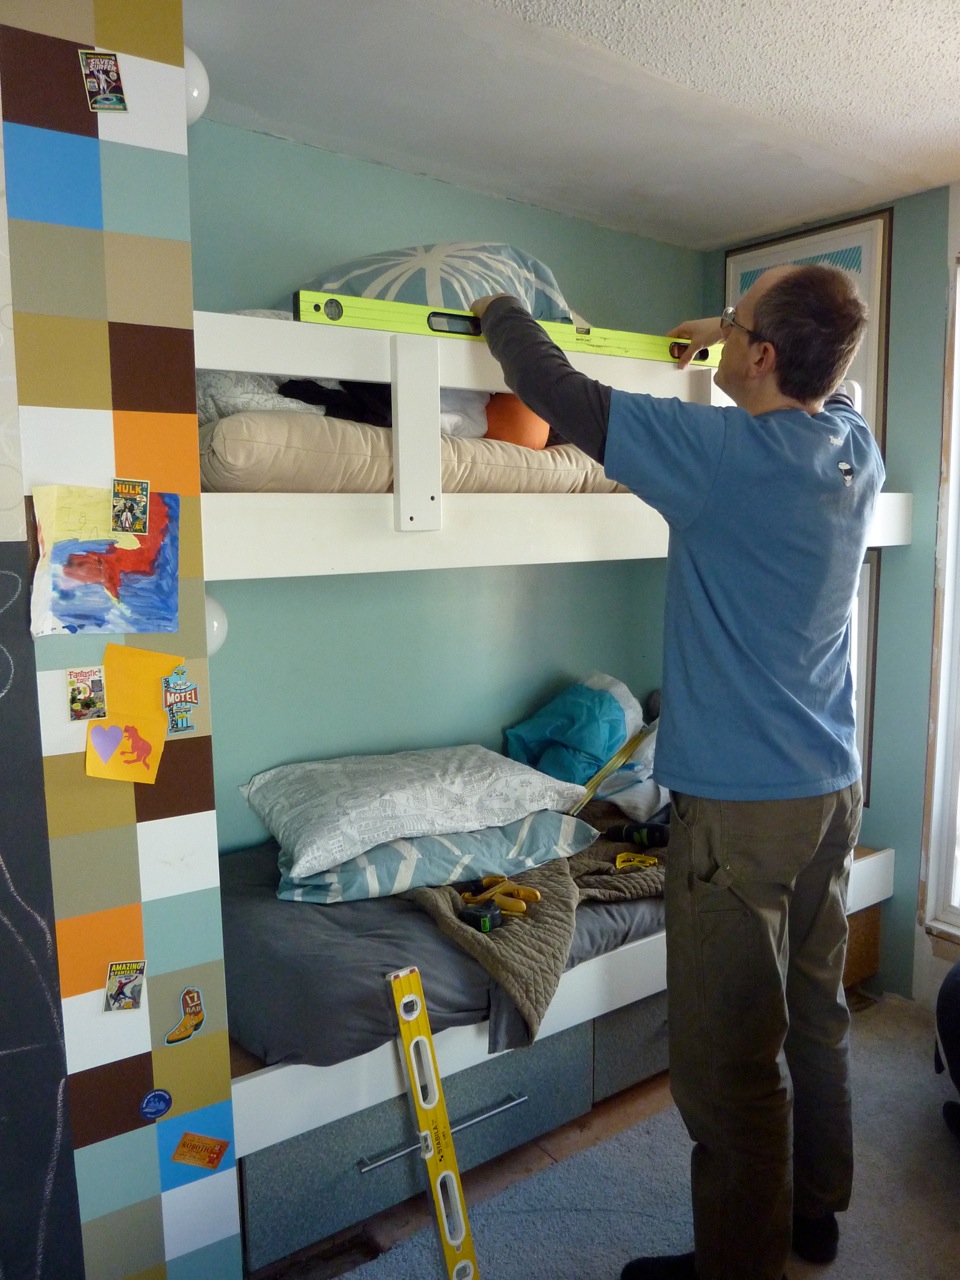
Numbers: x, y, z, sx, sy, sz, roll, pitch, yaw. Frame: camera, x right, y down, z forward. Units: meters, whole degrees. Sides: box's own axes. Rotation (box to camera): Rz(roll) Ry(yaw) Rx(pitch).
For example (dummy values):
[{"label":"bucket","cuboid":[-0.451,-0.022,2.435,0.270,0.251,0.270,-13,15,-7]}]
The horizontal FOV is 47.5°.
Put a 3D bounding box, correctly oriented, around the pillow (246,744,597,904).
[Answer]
[{"label":"pillow","cuboid":[-0.119,0.419,2.473,0.456,0.105,0.410,-4,7,-28]}]
